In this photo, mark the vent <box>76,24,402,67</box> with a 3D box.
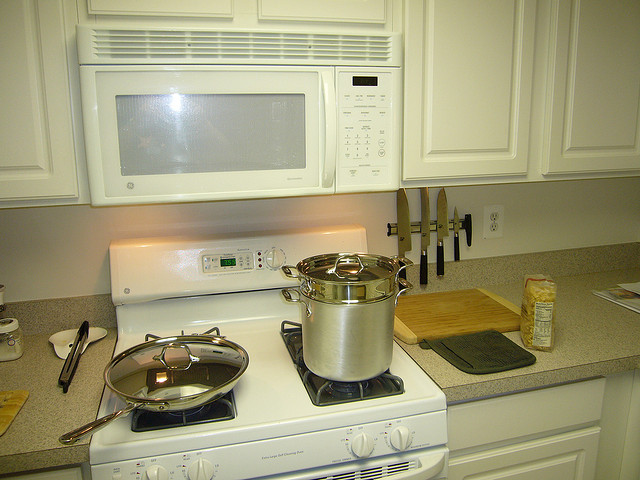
[{"bbox_3d":[-0.217,-0.599,1.544,0.961,0.099,0.131,-4,20,-12],"label":"vent"}]

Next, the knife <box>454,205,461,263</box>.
[{"bbox_3d":[0.585,-0.021,2.118,0.028,0.242,0.066,0,15,15],"label":"knife"}]

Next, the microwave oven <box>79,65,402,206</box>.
[{"bbox_3d":[-0.364,-0.419,1.864,0.856,0.465,0.591,-2,20,-16],"label":"microwave oven"}]

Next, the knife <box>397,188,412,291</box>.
[{"bbox_3d":[0.335,-0.034,2.061,0.069,0.490,0.043,-3,7,-30],"label":"knife"}]
